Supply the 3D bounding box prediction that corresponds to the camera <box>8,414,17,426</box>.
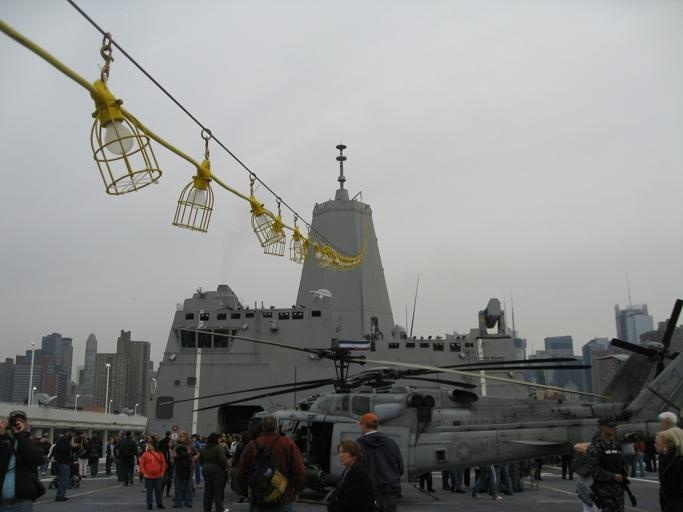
[{"bbox_3d":[-5.521,2.793,12.444,0.068,0.179,0.273,9,-14,-43],"label":"camera"}]
